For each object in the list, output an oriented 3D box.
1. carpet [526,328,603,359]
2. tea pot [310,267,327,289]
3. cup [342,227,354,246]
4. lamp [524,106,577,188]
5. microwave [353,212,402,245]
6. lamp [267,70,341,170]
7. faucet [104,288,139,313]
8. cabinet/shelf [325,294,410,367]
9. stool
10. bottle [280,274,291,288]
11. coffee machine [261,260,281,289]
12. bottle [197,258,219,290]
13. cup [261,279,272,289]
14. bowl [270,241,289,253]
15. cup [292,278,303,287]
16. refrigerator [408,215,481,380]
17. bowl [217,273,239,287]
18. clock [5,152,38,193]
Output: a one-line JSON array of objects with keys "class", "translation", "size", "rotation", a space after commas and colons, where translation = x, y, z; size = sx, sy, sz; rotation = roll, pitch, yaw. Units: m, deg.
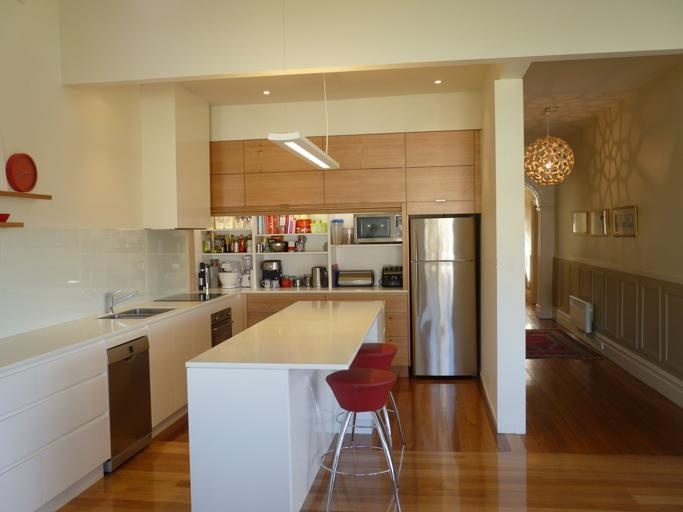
[{"class": "carpet", "translation": [3.347, 1.349, 8.112], "size": [0.979, 0.077, 1.856], "rotation": [1, 7, 18]}, {"class": "tea pot", "translation": [-0.383, 0.288, 7.122], "size": [0.297, 0.313, 0.168], "rotation": [1, 0, 15]}, {"class": "cup", "translation": [0.070, -0.281, 7.074], "size": [0.201, 0.317, 0.190], "rotation": [0, -1, 0]}, {"class": "lamp", "translation": [2.693, -1.429, 6.775], "size": [0.575, 1.041, 0.551], "rotation": [1, 4, 43]}, {"class": "microwave", "translation": [0.454, -0.357, 6.881], "size": [0.662, 0.443, 0.363], "rotation": [0, 1, 11]}, {"class": "lamp", "translation": [-0.403, -1.583, 6.016], "size": [0.206, 0.956, 1.046], "rotation": [4, 0, 16]}, {"class": "faucet", "translation": [-2.312, 0.440, 5.452], "size": [0.287, 0.213, 0.421], "rotation": [-4, 7, -24]}, {"class": "cabinet/shelf", "translation": [0.275, 0.722, 5.151], "size": [0.837, 0.818, 0.303], "rotation": [-1, 0, 5]}, {"class": "stool", "translation": [0.180, 1.329, 4.496], "size": [0.701, 0.957, 1.500], "rotation": [0, 6, 7]}, {"class": "bottle", "translation": [-0.780, 0.357, 7.255], "size": [0.127, 0.145, 0.130], "rotation": [-1, -4, 32]}, {"class": "coffee machine", "translation": [-0.977, 0.243, 7.235], "size": [0.329, 0.482, 0.326], "rotation": [-1, -6, 2]}, {"class": "bottle", "translation": [-1.807, 0.253, 7.128], "size": [0.306, 0.473, 0.352], "rotation": [0, -1, 26]}, {"class": "cup", "translation": [-1.036, 0.372, 7.210], "size": [0.137, 0.136, 0.083], "rotation": [0, 1, 1]}, {"class": "bowl", "translation": [-0.864, -0.108, 7.183], "size": [0.165, 0.121, 0.166], "rotation": [-2, -2, 0]}, {"class": "cup", "translation": [-0.618, 0.351, 7.224], "size": [0.118, 0.121, 0.228], "rotation": [-5, 7, -32]}, {"class": "refrigerator", "translation": [1.265, 0.489, 6.542], "size": [0.853, 1.932, 0.269], "rotation": [0, 6, 7]}, {"class": "bowl", "translation": [-1.536, 0.308, 7.102], "size": [0.195, 0.155, 0.215], "rotation": [0, -4, -1]}, {"class": "clock", "translation": [-2.592, -0.667, 4.253], "size": [0.069, 0.308, 0.267], "rotation": [0, 6, 11]}]
